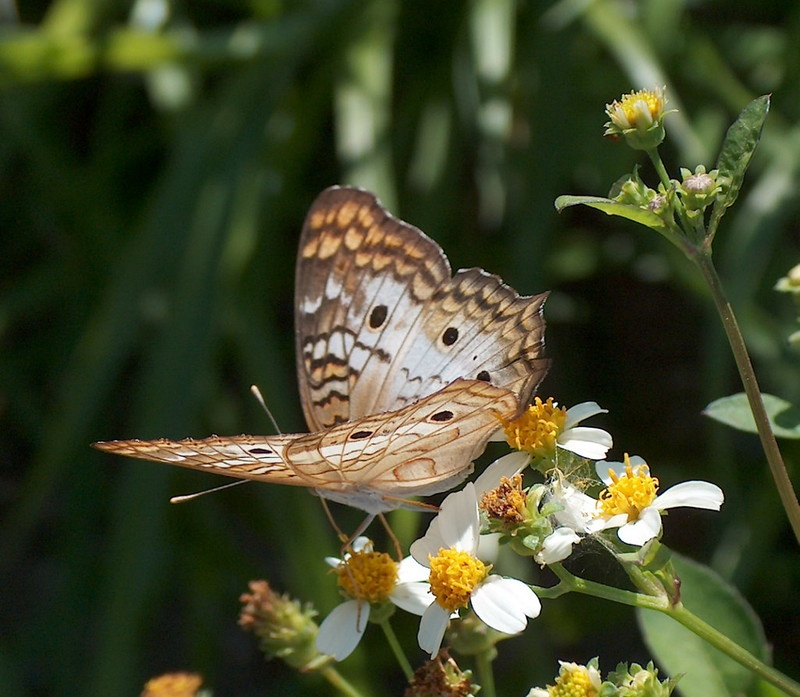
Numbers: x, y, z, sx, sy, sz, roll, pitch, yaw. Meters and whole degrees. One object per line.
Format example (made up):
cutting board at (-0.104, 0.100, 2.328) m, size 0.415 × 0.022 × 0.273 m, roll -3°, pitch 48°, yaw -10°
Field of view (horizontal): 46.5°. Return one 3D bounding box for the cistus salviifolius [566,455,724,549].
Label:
cistus salviifolius at (0.292, 0.187, 1.139) m, size 0.181 × 0.045 × 0.113 m, roll 13°, pitch 68°, yaw 18°

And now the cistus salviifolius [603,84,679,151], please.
cistus salviifolius at (0.301, -0.269, 1.142) m, size 0.074 × 0.085 × 0.071 m, roll -27°, pitch 17°, yaw -24°

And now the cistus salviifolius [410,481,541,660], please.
cistus salviifolius at (0.080, 0.313, 1.196) m, size 0.156 × 0.145 × 0.185 m, roll -33°, pitch 62°, yaw -6°

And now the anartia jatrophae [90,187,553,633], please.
anartia jatrophae at (-0.105, 0.038, 1.357) m, size 0.537 × 0.548 × 0.351 m, roll -24°, pitch 91°, yaw 38°
